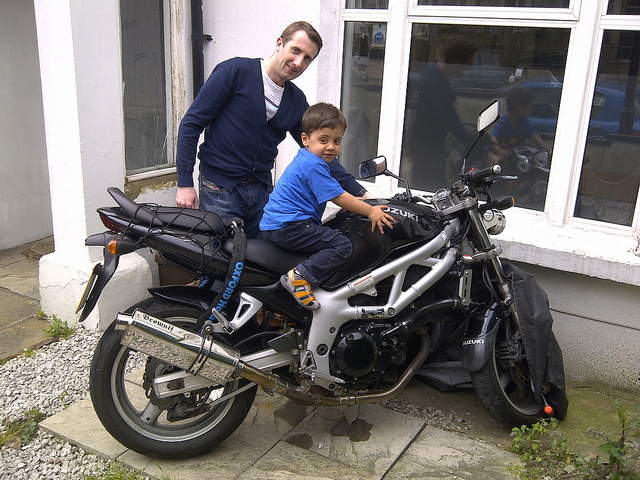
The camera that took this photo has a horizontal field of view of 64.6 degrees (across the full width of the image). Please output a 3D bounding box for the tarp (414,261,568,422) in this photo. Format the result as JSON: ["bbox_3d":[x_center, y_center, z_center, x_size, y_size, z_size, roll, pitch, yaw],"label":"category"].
[{"bbox_3d":[1.254,0.758,3.632,0.816,1.206,0.742,-7,-7,27],"label":"tarp"}]

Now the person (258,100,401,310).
[{"bbox_3d":[0.103,-0.180,2.955,0.799,1.136,0.577,7,-1,-17],"label":"person"}]
